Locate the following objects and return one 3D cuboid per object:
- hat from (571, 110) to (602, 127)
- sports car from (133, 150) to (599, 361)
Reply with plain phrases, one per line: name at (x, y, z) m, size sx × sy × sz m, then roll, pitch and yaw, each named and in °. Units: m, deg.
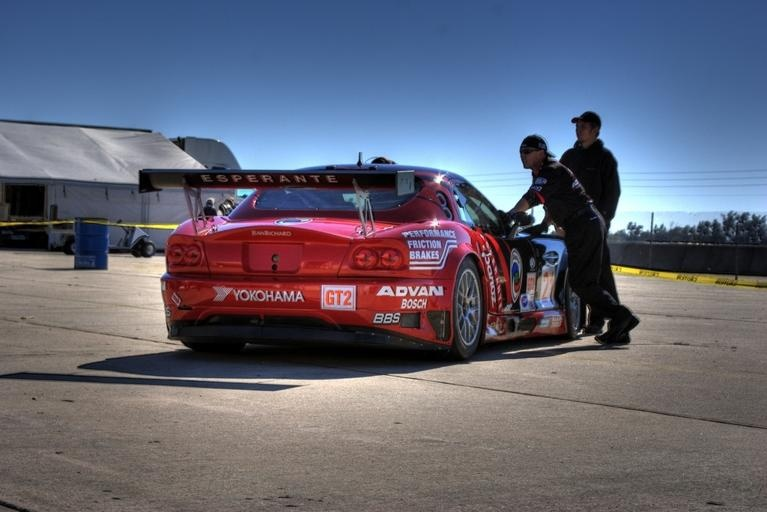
hat at (2.454, -1.653, 7.566) m, size 0.297 × 0.156 × 0.266 m, roll 2°, pitch 2°, yaw 11°
sports car at (0.262, -0.036, 6.099) m, size 1.902 × 0.989 × 3.473 m, roll 0°, pitch 2°, yaw 29°
